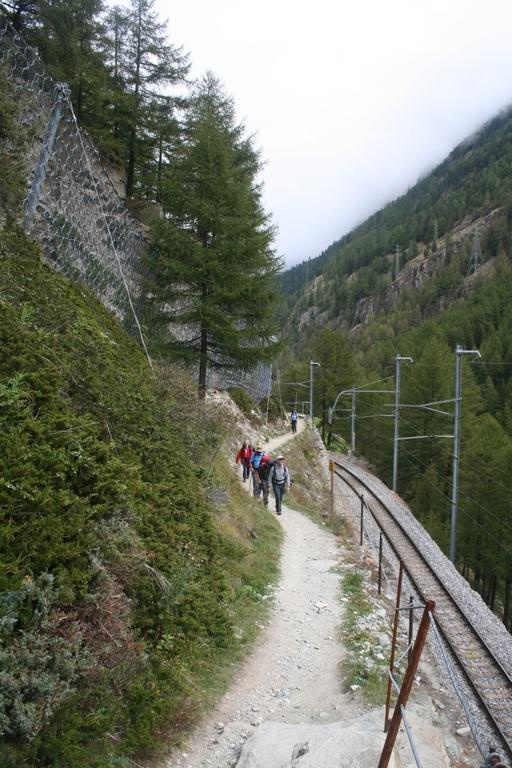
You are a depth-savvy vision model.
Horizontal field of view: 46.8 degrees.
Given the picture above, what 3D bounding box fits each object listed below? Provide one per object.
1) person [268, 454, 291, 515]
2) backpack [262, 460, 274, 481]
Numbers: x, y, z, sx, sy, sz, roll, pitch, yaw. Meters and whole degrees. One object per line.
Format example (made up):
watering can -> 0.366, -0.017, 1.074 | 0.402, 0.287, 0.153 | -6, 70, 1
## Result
person -> 0.623, 2.750, 15.924 | 0.494, 1.558, 0.555 | 2, 0, 6
backpack -> 0.308, 2.363, 16.197 | 0.328, 0.502, 0.503 | 0, -10, 0
